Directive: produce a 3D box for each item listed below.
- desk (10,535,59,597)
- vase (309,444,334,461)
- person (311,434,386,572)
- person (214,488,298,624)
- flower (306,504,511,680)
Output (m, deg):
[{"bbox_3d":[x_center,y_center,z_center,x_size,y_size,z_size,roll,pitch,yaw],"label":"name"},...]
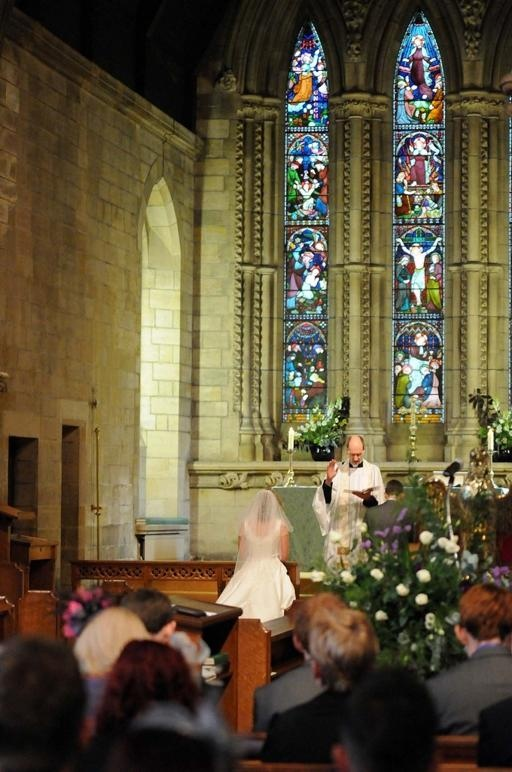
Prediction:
[{"bbox_3d":[-1.959,1.544,8.814,0.264,0.441,0.460,-2,-7,22],"label":"desk"},{"bbox_3d":[0.886,0.914,13.698,0.261,0.191,0.250,5,-10,-30],"label":"vase"},{"bbox_3d":[0.788,1.111,8.873,0.640,1.270,0.609,3,13,-2],"label":"person"},{"bbox_3d":[0.009,1.416,8.253,0.622,1.105,0.544,4,6,5],"label":"person"},{"bbox_3d":[0.601,0.811,4.401,0.764,0.749,0.720,-12,5,-7],"label":"flower"}]
